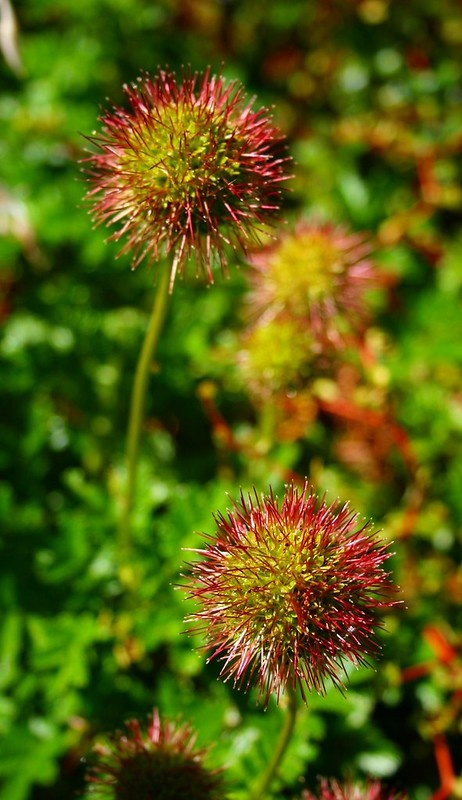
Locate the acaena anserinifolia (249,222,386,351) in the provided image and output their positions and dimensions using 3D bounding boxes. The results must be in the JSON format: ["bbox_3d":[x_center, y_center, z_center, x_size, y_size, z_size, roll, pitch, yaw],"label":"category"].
[{"bbox_3d":[0.181,-0.303,1.585,0.243,0.143,0.240,-9,51,-9],"label":"acaena anserinifolia"}]

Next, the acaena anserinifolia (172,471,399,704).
[{"bbox_3d":[0.090,0.294,1.079,0.285,0.260,0.299,32,74,14],"label":"acaena anserinifolia"}]
